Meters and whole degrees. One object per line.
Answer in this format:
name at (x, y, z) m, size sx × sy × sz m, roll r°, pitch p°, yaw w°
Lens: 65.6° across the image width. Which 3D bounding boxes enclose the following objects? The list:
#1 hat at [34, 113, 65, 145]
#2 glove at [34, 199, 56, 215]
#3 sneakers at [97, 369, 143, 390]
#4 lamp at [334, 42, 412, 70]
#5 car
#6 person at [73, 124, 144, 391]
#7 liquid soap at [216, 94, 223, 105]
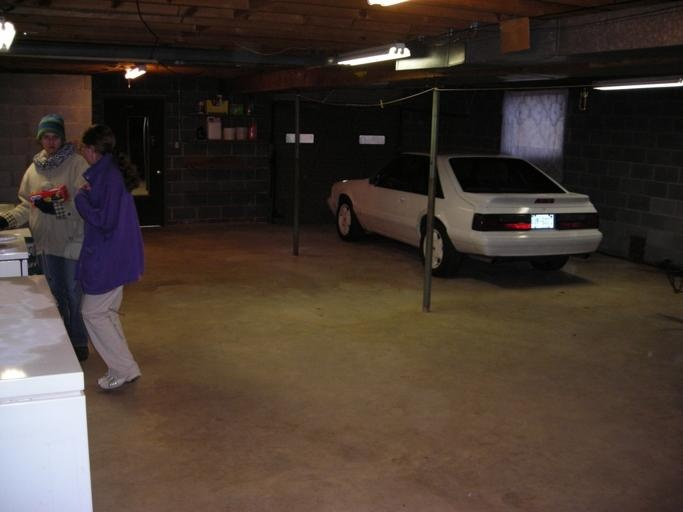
hat at (-2.927, -1.264, 5.302) m, size 0.247 × 0.265 × 0.346 m, roll 1°, pitch 9°, yaw -24°
glove at (-2.792, -0.462, 4.955) m, size 0.169 × 0.141 × 0.053 m, roll -7°, pitch 16°, yaw -24°
sneakers at (-2.049, 1.120, 4.830) m, size 0.292 × 0.128 × 0.181 m, roll -2°, pitch 11°, yaw -19°
lamp at (0.420, -2.632, 6.939) m, size 0.955 × 0.141 × 0.530 m, roll 0°, pitch 15°, yaw 41°
car at (1.932, -0.953, 9.793) m, size 2.305 × 1.936 × 5.352 m, roll -8°, pitch 17°, yaw -28°
person at (-2.093, 0.015, 4.772) m, size 0.559 × 2.297 × 0.609 m, roll -4°, pitch 15°, yaw -15°
liquid soap at (-2.941, -3.724, 12.624) m, size 0.151 × 0.221 × 0.073 m, roll 7°, pitch 5°, yaw -16°
